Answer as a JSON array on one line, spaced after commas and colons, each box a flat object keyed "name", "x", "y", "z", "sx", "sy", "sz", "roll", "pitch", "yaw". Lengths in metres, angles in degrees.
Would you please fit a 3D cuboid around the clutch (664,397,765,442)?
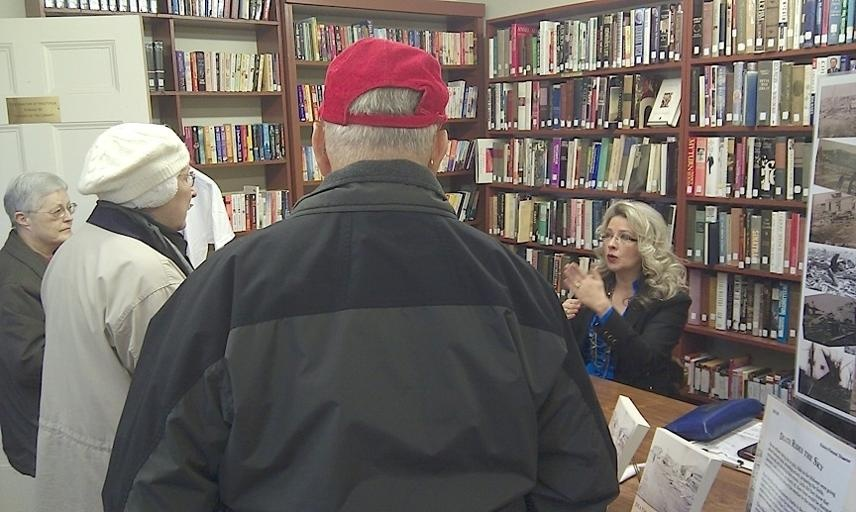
[{"name": "clutch", "x": 1.287, "y": 0.731, "z": 3.105, "sx": 0.333, "sy": 0.106, "sz": 0.206, "roll": -14, "pitch": 4, "yaw": -35}]

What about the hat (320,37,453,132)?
[{"name": "hat", "x": -0.148, "y": -0.569, "z": 2.208, "sx": 0.252, "sy": 0.186, "sz": 0.361, "roll": 3, "pitch": 19, "yaw": -1}]

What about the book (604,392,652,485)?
[{"name": "book", "x": 0.813, "y": 0.755, "z": 2.825, "sx": 0.052, "sy": 0.389, "sz": 0.287, "roll": 4, "pitch": 23, "yaw": -11}]

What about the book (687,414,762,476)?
[{"name": "book", "x": 1.368, "y": 0.835, "z": 3.080, "sx": 0.279, "sy": 0.073, "sz": 0.280, "roll": -14, "pitch": 19, "yaw": -34}]

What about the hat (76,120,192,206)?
[{"name": "hat", "x": -1.178, "y": -0.431, "z": 2.813, "sx": 0.361, "sy": 0.257, "sz": 0.298, "roll": -13, "pitch": 28, "yaw": -26}]
